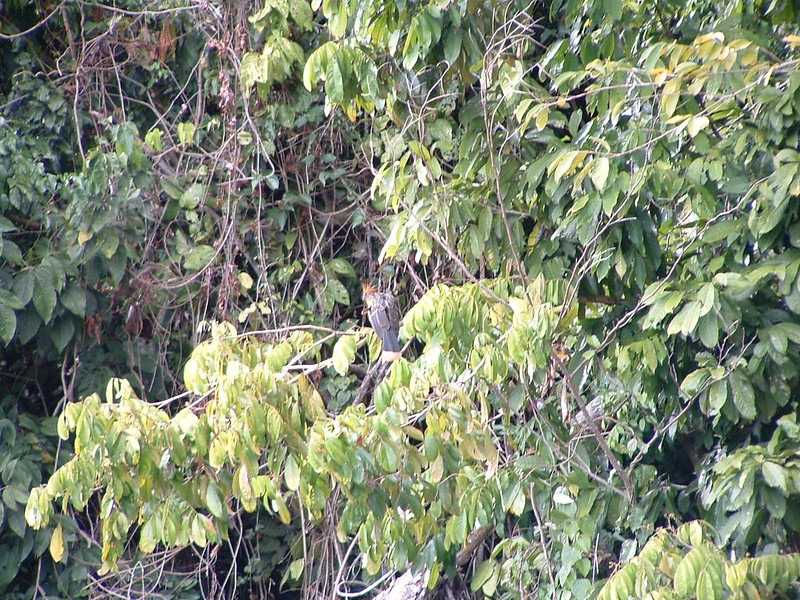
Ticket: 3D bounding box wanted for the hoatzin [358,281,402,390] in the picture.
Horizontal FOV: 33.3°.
[{"bbox_3d":[-0.084,0.091,5.668,0.111,0.171,0.418,-3,47,-16],"label":"hoatzin"}]
